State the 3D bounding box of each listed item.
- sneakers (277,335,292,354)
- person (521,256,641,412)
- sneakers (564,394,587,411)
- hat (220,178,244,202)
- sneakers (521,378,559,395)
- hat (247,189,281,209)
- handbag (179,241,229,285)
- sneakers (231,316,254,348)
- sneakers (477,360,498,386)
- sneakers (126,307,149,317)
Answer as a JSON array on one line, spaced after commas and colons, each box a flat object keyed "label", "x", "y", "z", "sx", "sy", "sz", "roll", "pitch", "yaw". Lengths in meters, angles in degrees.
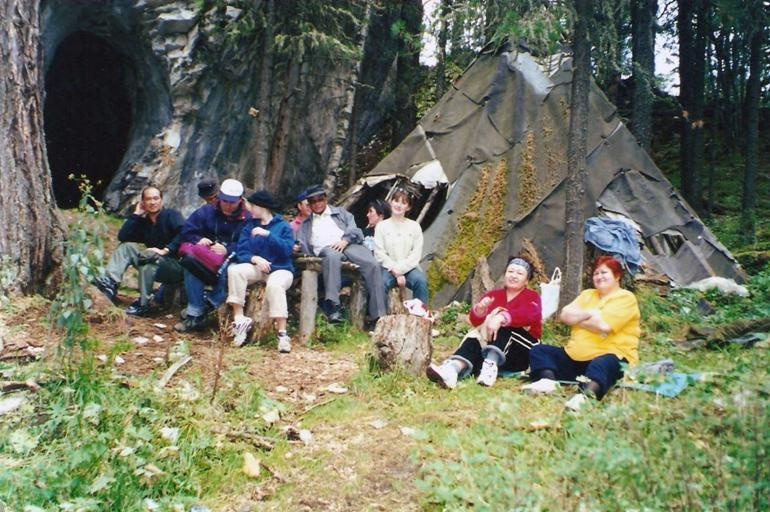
[{"label": "sneakers", "x": -1.466, "y": 1.269, "z": 9.985, "sx": 0.181, "sy": 0.169, "sz": 0.136, "roll": 3, "pitch": 2, "yaw": -18}, {"label": "person", "x": 2.520, "y": 0.861, "z": 8.664, "sx": 1.274, "sy": 1.690, "sz": 0.871, "roll": 3, "pitch": 2, "yaw": -29}, {"label": "sneakers", "x": 2.252, "y": 1.731, "z": 8.065, "sx": 0.243, "sy": 0.183, "sz": 0.568, "roll": 5, "pitch": 3, "yaw": 18}, {"label": "hat", "x": -2.407, "y": -1.067, "z": 10.739, "sx": 0.298, "sy": 0.205, "sz": 0.417, "roll": 21, "pitch": 15, "yaw": -21}, {"label": "sneakers", "x": 1.932, "y": 1.612, "z": 8.484, "sx": 0.372, "sy": 0.163, "sz": 0.218, "roll": 4, "pitch": -11, "yaw": -13}, {"label": "hat", "x": -1.888, "y": -0.972, "z": 10.573, "sx": 0.418, "sy": 0.176, "sz": 0.380, "roll": 23, "pitch": 4, "yaw": 12}, {"label": "handbag", "x": -2.735, "y": 0.018, "z": 10.246, "sx": 0.611, "sy": 0.222, "sz": 0.634, "roll": 33, "pitch": 44, "yaw": -6}, {"label": "sneakers", "x": -2.088, "y": 1.082, "z": 10.032, "sx": 0.278, "sy": 0.426, "sz": 0.254, "roll": 3, "pitch": 2, "yaw": -11}, {"label": "sneakers", "x": 1.323, "y": 1.487, "z": 8.842, "sx": 0.287, "sy": 0.274, "sz": 0.194, "roll": 4, "pitch": 2, "yaw": -4}, {"label": "sneakers", "x": -3.765, "y": 0.824, "z": 10.354, "sx": 0.288, "sy": 0.138, "sz": 0.330, "roll": 4, "pitch": 3, "yaw": -2}]
